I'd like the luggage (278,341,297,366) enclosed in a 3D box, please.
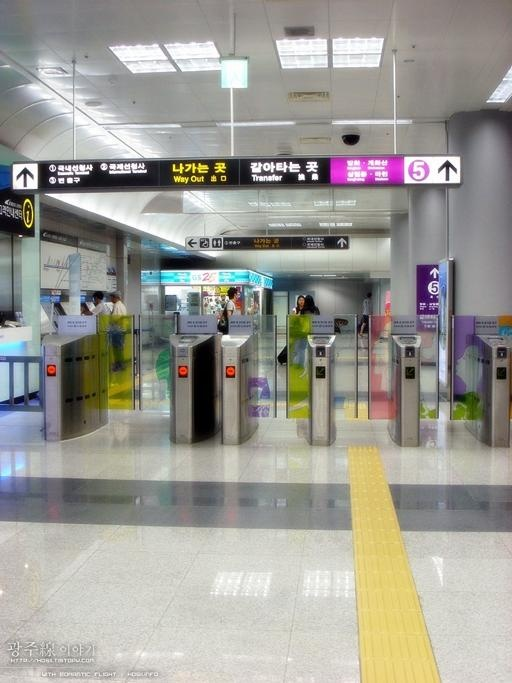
[{"bbox_3d":[0.439,0.203,7.799,0.221,0.234,0.259,3,-4,3],"label":"luggage"}]
